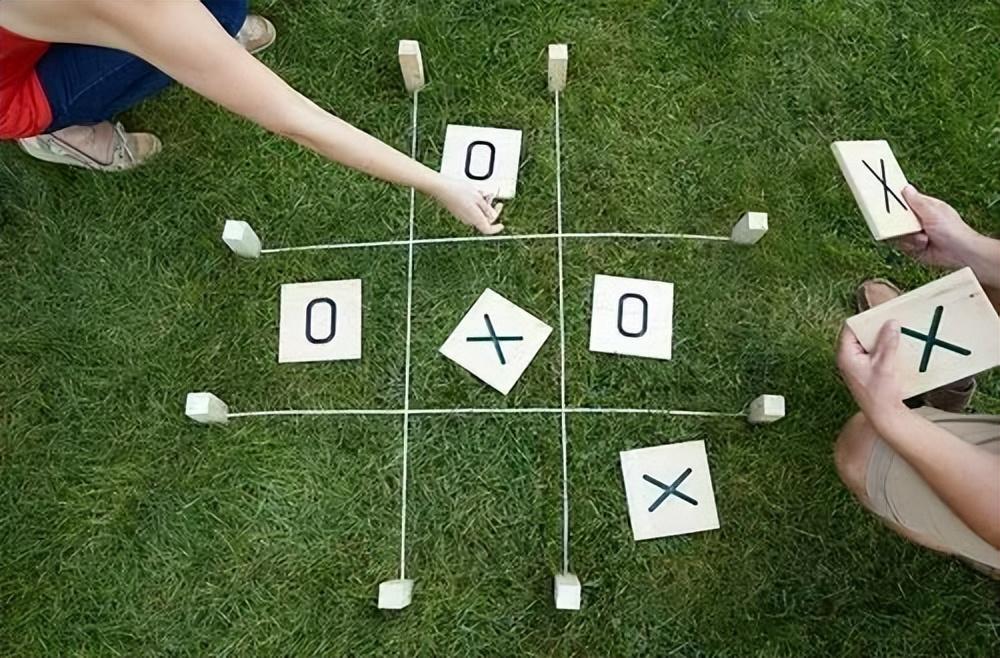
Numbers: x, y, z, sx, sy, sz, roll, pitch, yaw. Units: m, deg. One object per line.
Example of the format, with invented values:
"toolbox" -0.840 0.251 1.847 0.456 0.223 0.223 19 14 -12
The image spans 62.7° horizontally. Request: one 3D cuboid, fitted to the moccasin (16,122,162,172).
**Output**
"moccasin" -2.095 -0.911 4.330 0.729 0.269 0.276 -3 91 -21
